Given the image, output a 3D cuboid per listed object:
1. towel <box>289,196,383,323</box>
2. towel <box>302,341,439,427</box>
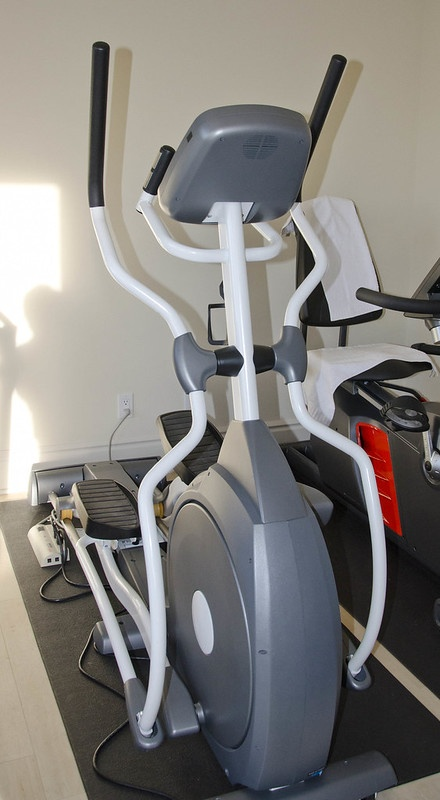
[{"bbox_3d":[0.449,-0.519,2.013,0.289,0.608,0.130,-11,8,-14],"label":"towel"},{"bbox_3d":[0.467,-0.099,1.755,0.308,0.211,0.340,-6,6,-12],"label":"towel"}]
